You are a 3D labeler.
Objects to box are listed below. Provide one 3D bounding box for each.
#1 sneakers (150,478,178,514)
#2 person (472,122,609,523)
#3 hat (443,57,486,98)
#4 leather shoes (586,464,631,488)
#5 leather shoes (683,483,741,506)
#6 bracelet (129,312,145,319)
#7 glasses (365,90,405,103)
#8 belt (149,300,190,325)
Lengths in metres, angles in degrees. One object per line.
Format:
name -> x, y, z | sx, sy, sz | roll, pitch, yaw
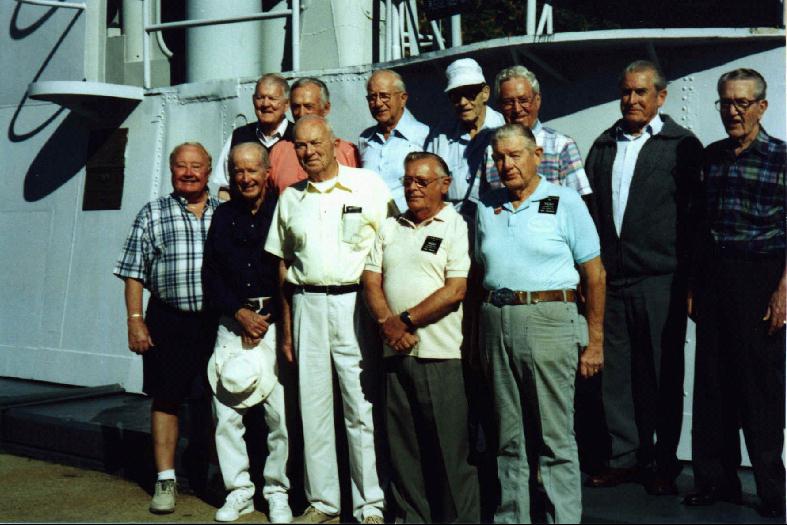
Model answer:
sneakers -> -2.036, 2.031, 8.317 | 0.203, 0.193, 0.476 | 7, 15, -11
person -> 1.176, 0.492, 7.498 | 1.030, 3.189, 0.530 | -2, -5, 4
hat -> 0.632, -1.626, 7.926 | 0.270, 0.160, 0.334 | 0, -8, 12
leather shoes -> 1.832, 1.813, 7.988 | 0.430, 0.164, 0.144 | -3, 24, -1
leather shoes -> 2.632, 1.910, 7.777 | 0.504, 0.210, 0.183 | 2, 10, -4
bracelet -> -2.265, 0.470, 8.343 | 0.096, 0.050, 0.165 | -4, -4, 24
glasses -> -0.056, -1.469, 8.244 | 0.321, 0.087, 0.106 | -2, -4, -2
belt -> -2.001, 0.456, 8.304 | 0.272, 0.274, 0.260 | 1, 1, -10
